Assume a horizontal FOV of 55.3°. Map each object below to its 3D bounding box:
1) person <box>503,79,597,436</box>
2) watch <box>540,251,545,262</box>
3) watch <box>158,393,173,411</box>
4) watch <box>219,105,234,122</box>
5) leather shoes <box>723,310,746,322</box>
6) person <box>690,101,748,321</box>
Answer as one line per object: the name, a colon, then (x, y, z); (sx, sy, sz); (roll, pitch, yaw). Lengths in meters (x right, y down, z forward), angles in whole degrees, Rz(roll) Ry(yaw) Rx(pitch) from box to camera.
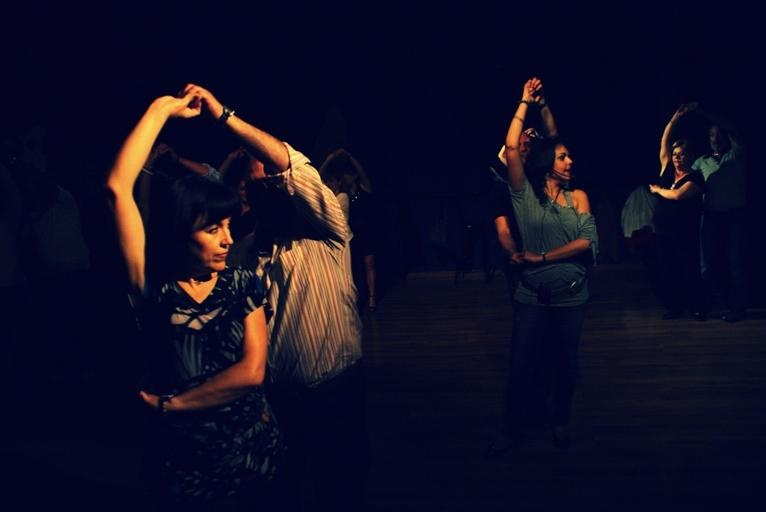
person: (1.032, 0.008, 4.562); (0.607, 2.235, 0.195); (-3, -3, 16)
watch: (1.016, 0.003, 4.599); (0.030, 0.044, 0.046); (3, -31, 4)
watch: (-1.207, 0.803, 4.045); (0.103, 0.080, 0.032); (-24, -33, 31)
watch: (-0.912, -0.829, 4.248); (0.067, 0.097, 0.105); (20, 20, -11)
leather shoes: (2.218, 0.378, 4.605); (0.141, 0.070, 0.034); (-3, -3, 20)
person: (2.147, -0.245, 4.642); (0.322, 1.314, 0.226); (-2, -3, -10)
